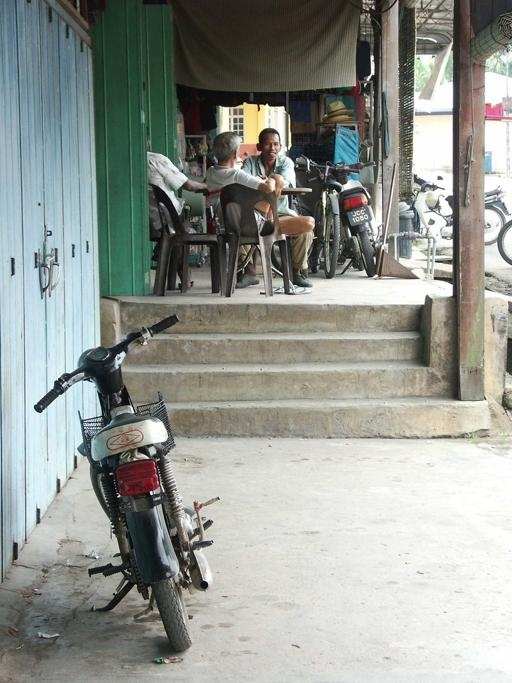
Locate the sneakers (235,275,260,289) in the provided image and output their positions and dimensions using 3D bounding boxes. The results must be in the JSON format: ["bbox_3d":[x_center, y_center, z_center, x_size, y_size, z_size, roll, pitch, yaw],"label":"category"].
[{"bbox_3d":[-0.093,-0.573,7.729,0.095,0.105,0.263,-5,3,29],"label":"sneakers"}]

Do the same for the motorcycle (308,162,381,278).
[{"bbox_3d":[0.956,-1.517,9.172,0.767,1.221,1.922,-2,5,-4],"label":"motorcycle"}]

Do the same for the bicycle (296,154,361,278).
[{"bbox_3d":[0.898,-1.563,9.450,0.778,1.165,1.970,0,12,4],"label":"bicycle"}]

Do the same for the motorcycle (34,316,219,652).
[{"bbox_3d":[-0.424,0.452,2.643,0.548,1.042,0.620,0,7,-3],"label":"motorcycle"}]

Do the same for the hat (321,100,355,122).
[{"bbox_3d":[1.211,-3.516,12.324,0.378,0.176,0.443,-18,16,-26],"label":"hat"}]

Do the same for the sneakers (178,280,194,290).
[{"bbox_3d":[-0.688,-0.548,7.715,0.080,0.096,0.224,1,9,1],"label":"sneakers"}]

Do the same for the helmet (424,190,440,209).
[{"bbox_3d":[3.955,-3.268,18.155,0.397,0.548,0.180,2,-21,-2],"label":"helmet"}]

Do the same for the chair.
[{"bbox_3d":[-0.340,-0.876,6.884,1.053,0.877,1.033,7,17,28],"label":"chair"}]
